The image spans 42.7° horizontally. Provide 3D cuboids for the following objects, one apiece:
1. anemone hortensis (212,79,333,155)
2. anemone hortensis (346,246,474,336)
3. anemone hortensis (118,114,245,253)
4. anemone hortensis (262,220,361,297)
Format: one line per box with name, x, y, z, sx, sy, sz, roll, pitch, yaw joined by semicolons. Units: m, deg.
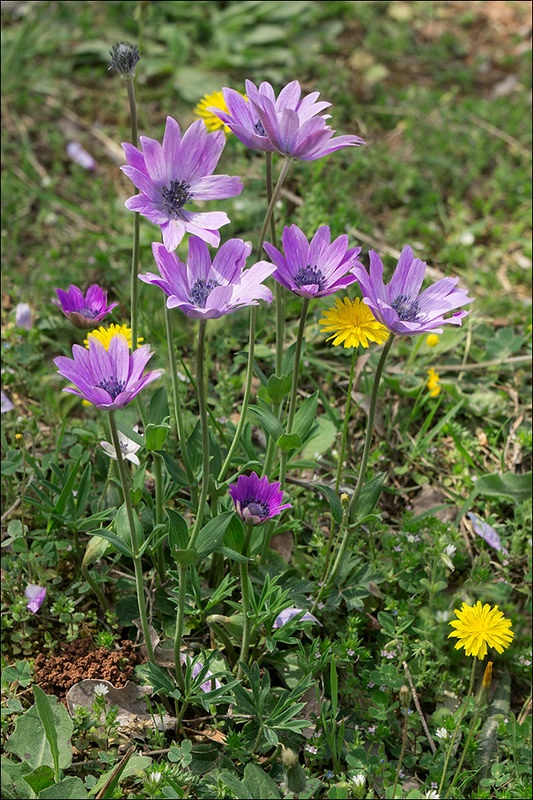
anemone hortensis;0.028;-0.546;1.362;0.211;0.206;0.193;-13;23;-33
anemone hortensis;0.267;-0.193;1.310;0.196;0.241;0.223;-5;17;-20
anemone hortensis;-0.156;-0.403;1.260;0.166;0.185;0.263;15;37;17
anemone hortensis;0.096;-0.282;1.405;0.186;0.075;0.180;26;69;15
